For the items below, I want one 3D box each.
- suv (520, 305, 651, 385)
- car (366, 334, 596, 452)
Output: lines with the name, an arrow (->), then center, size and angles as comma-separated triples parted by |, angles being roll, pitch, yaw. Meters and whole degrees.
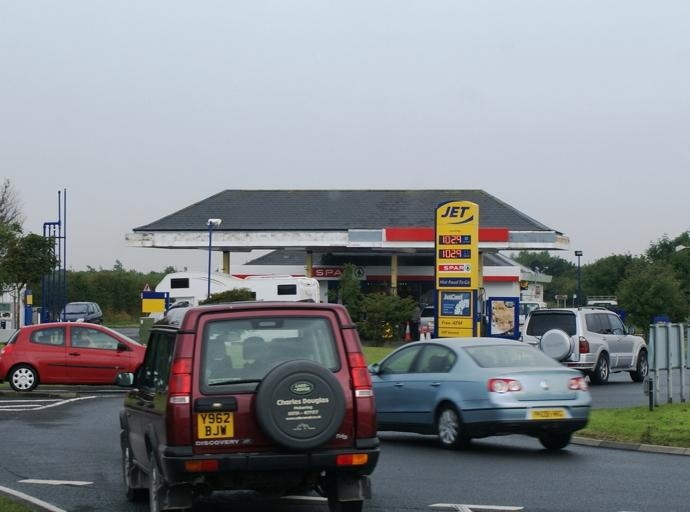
suv -> 6.395, 2.237, 33.446 | 1.798, 1.463, 3.589 | 1, 2, 35
car -> 2.335, 2.418, 22.289 | 3.616, 1.912, 1.248 | -4, -7, 42
